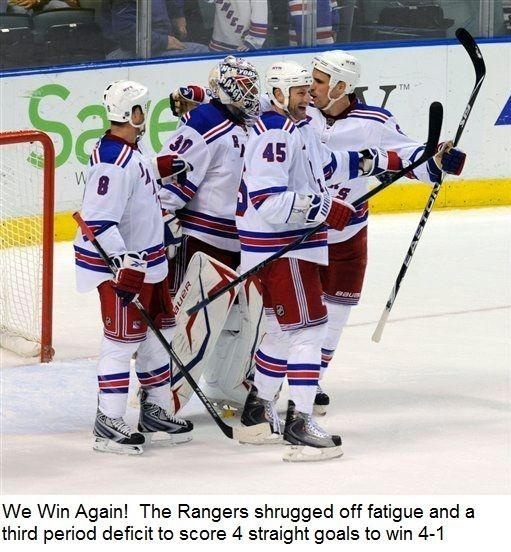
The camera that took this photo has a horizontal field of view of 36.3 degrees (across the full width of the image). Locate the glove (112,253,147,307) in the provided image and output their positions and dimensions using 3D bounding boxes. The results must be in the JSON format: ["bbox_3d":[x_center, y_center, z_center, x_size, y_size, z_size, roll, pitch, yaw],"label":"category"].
[{"bbox_3d":[-0.401,0.007,2.496,0.122,0.149,0.048,12,5,-11],"label":"glove"}]

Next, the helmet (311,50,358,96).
[{"bbox_3d":[0.334,-0.812,3.121,0.218,0.153,0.141,13,28,-5],"label":"helmet"}]

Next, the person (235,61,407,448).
[{"bbox_3d":[0.161,-0.047,2.709,0.488,1.330,0.801,5,26,8],"label":"person"}]

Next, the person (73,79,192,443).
[{"bbox_3d":[-0.429,0.013,2.698,0.369,1.303,0.649,-5,27,-12],"label":"person"}]

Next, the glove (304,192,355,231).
[{"bbox_3d":[0.278,-0.204,2.606,0.142,0.105,0.053,-14,30,-32],"label":"glove"}]
